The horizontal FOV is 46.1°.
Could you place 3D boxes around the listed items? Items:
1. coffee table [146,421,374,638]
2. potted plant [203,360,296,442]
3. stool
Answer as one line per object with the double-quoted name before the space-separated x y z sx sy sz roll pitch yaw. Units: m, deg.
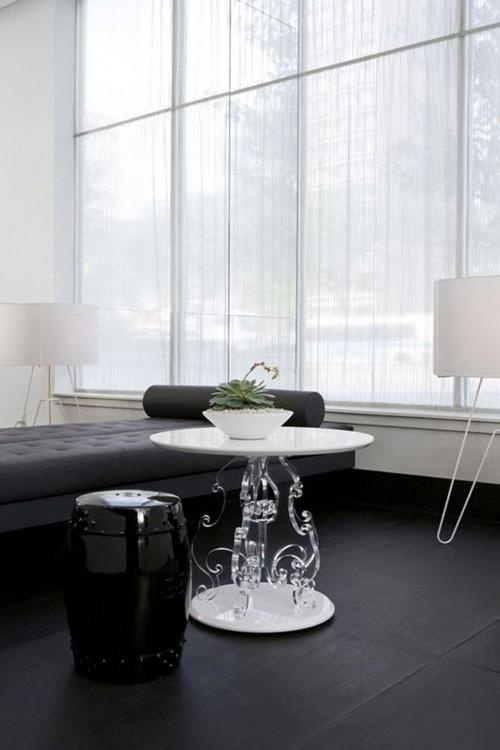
"coffee table" 0.072 0.555 1.945 0.567 0.573 0.632 0 2 26
"potted plant" 0.018 0.116 1.967 0.265 0.279 0.331 2 0 30
"stool" -0.235 0.521 1.536 0.291 0.528 0.352 0 -3 -3
